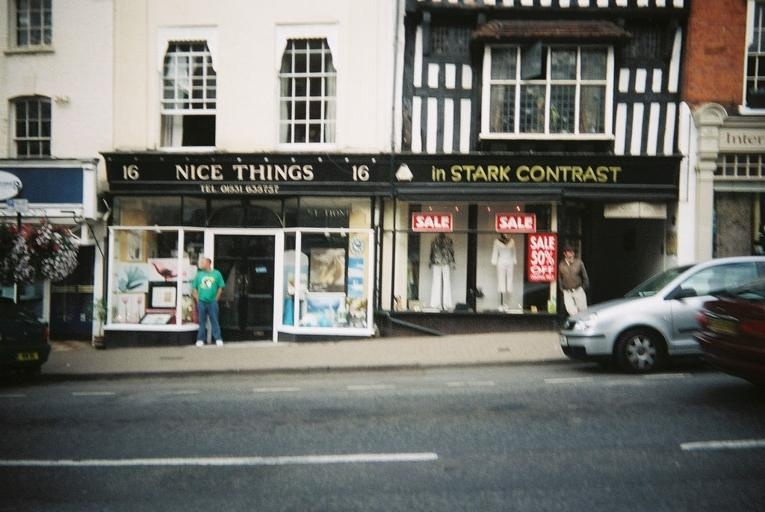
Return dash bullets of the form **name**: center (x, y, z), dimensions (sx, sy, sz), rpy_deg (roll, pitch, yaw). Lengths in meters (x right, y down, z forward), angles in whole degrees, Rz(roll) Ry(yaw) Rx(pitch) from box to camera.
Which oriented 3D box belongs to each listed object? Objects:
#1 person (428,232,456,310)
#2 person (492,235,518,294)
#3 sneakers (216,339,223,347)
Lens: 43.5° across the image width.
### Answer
- **person**: center (1.616, 0.439, 26.670), dimensions (0.727, 2.007, 0.465), rpy_deg (-1, 11, 2)
- **person**: center (3.327, 0.302, 26.598), dimensions (0.682, 1.499, 0.354), rpy_deg (-1, 11, 5)
- **sneakers**: center (-4.425, 2.335, 25.789), dimensions (0.154, 0.143, 0.297), rpy_deg (3, -3, -4)
